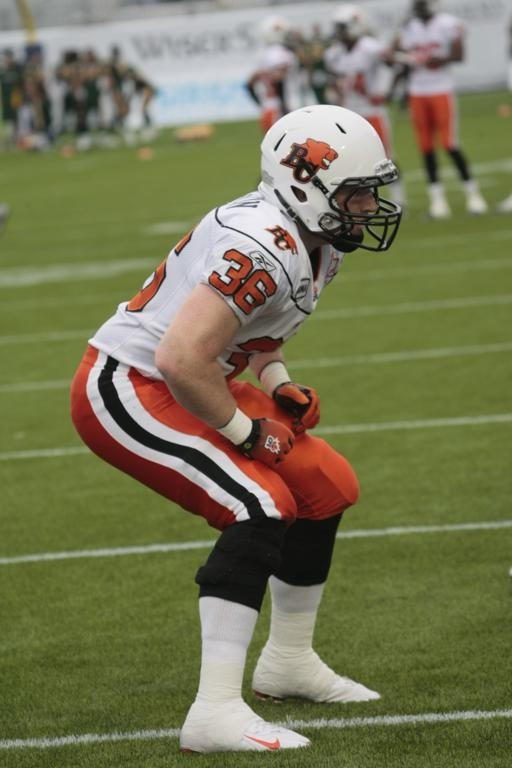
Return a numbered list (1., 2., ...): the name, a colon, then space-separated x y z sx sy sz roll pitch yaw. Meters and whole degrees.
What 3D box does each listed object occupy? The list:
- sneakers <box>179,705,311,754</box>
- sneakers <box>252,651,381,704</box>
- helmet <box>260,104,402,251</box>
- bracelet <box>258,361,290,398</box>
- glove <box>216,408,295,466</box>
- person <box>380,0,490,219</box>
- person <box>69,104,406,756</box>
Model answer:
1. sneakers: -0.042 0.755 2.036 0.351 0.113 0.104 0 -14 -2
2. sneakers: 0.127 0.741 2.340 0.383 0.144 0.114 0 -9 2
3. helmet: 0.185 -0.504 2.303 0.373 0.304 0.259 11 25 22
4. bracelet: 0.049 -0.011 2.558 0.070 0.045 0.109 7 25 -49
5. glove: 0.014 0.139 2.130 0.186 0.064 0.100 23 20 -11
6. person: 1.782 -2.637 8.856 0.688 2.107 1.006 -7 14 2
7. person: -0.047 0.095 2.251 0.616 1.490 0.863 3 17 35
